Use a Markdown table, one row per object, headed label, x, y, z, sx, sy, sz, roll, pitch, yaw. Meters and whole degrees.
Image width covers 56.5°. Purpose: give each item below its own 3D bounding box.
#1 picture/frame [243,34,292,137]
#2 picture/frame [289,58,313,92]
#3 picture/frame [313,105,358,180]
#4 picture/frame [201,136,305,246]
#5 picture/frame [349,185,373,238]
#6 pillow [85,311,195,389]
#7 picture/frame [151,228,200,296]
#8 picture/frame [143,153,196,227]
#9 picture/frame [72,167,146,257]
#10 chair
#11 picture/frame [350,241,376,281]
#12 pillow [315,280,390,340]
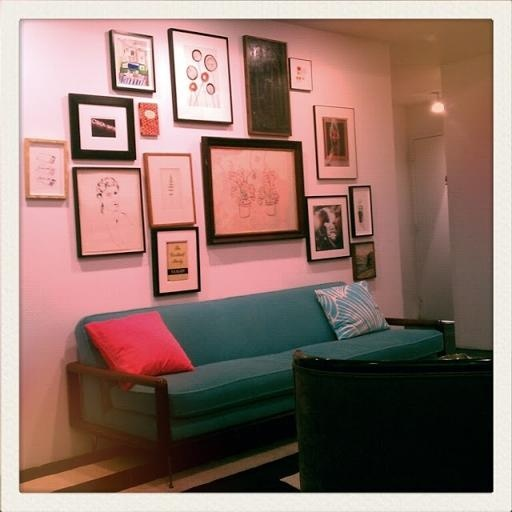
| label | x | y | z | sx | sy | sz | roll | pitch | yaw |
| --- | --- | --- | --- | --- | --- | --- | --- | --- | --- |
| picture/frame | 0.083 | -1.158 | 3.279 | 0.329 | 0.621 | 0.061 | 14 | 36 | 27 |
| picture/frame | 0.339 | -1.330 | 3.489 | 0.207 | 0.216 | 0.023 | 22 | 41 | 38 |
| picture/frame | 0.594 | -0.876 | 3.671 | 0.546 | 0.749 | 0.024 | -6 | 6 | -39 |
| picture/frame | -0.045 | -0.433 | 3.178 | 0.735 | 0.649 | 0.061 | -3 | 0 | -39 |
| picture/frame | 0.851 | -0.358 | 3.850 | 0.257 | 0.396 | 0.064 | -2 | -2 | -44 |
| pillow | -0.565 | 0.442 | 2.354 | 0.447 | 0.244 | 0.275 | -2 | -2 | -43 |
| picture/frame | -0.482 | 0.036 | 2.803 | 0.376 | 0.521 | 0.051 | -2 | -2 | -41 |
| picture/frame | -0.515 | -0.384 | 2.788 | 0.378 | 0.543 | 0.066 | -9 | 5 | -42 |
| picture/frame | -0.801 | -0.237 | 2.556 | 0.040 | 0.564 | 0.438 | 0 | 5 | 44 |
| chair | 0.289 | 0.313 | 1.104 | 0.313 | 0.366 | 0.305 | -5 | -6 | 0 |
| picture/frame | 0.851 | 0.039 | 3.837 | 0.046 | 0.382 | 0.297 | -3 | 0 | 44 |
| pillow | 0.627 | 0.368 | 3.182 | 0.389 | 0.373 | 0.119 | -13 | -21 | -33 |
